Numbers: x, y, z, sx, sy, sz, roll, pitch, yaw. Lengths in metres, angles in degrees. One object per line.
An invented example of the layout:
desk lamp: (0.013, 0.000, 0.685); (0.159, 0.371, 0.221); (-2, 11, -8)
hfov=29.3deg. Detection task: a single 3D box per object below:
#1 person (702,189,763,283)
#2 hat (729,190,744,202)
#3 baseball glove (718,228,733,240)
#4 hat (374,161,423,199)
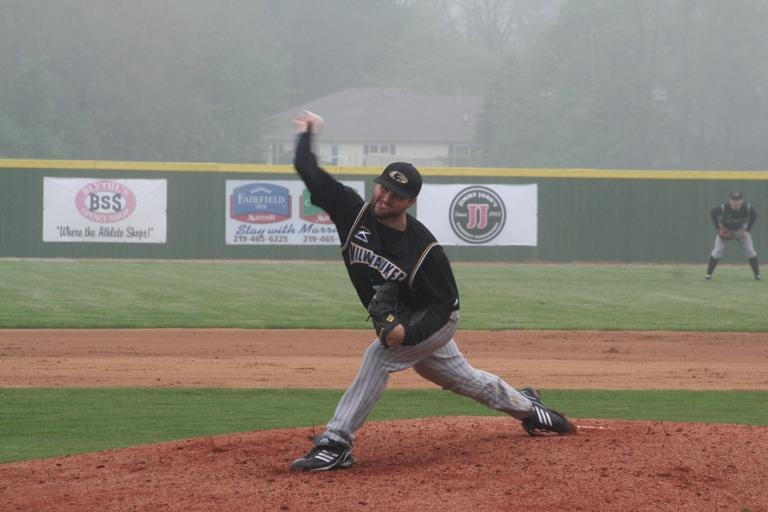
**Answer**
person: (6.944, -0.392, 28.698); (1.057, 1.658, 1.280); (2, 3, 12)
hat: (6.998, -1.161, 28.706); (0.235, 0.127, 0.297); (6, -4, 18)
baseball glove: (6.727, -0.407, 28.561); (0.218, 0.182, 0.256); (18, -17, -18)
hat: (0.250, -1.075, 20.236); (0.637, 0.424, 0.830); (28, 15, 15)
